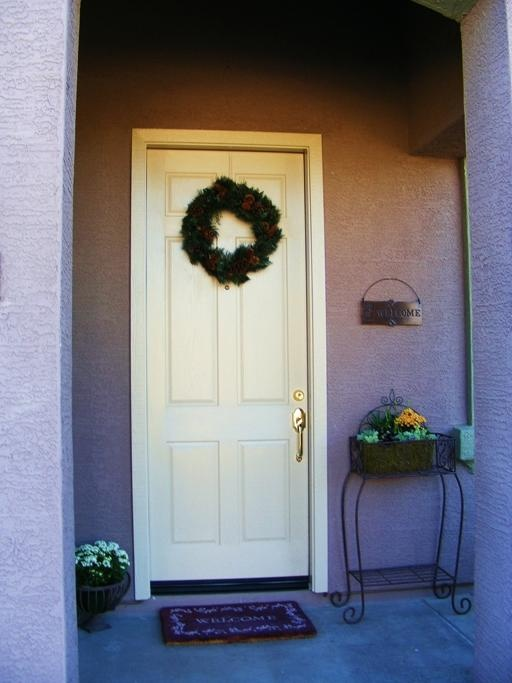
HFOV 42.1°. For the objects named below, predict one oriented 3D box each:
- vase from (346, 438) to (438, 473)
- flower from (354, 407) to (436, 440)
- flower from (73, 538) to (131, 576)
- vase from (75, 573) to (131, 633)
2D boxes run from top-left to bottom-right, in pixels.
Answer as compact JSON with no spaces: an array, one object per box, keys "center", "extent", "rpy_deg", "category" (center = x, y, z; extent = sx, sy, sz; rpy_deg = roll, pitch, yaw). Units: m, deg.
[{"center":[0.589,0.502,2.917],"extent":[0.357,0.173,0.192],"rpy_deg":[2,5,8],"category":"vase"},{"center":[0.612,0.368,2.993],"extent":[0.342,0.127,0.310],"rpy_deg":[1,5,-3],"category":"flower"},{"center":[-0.622,0.873,2.709],"extent":[0.146,0.094,0.171],"rpy_deg":[5,-7,-4],"category":"flower"},{"center":[-0.623,1.034,2.676],"extent":[0.228,0.159,0.224],"rpy_deg":[0,-18,-6],"category":"vase"}]
